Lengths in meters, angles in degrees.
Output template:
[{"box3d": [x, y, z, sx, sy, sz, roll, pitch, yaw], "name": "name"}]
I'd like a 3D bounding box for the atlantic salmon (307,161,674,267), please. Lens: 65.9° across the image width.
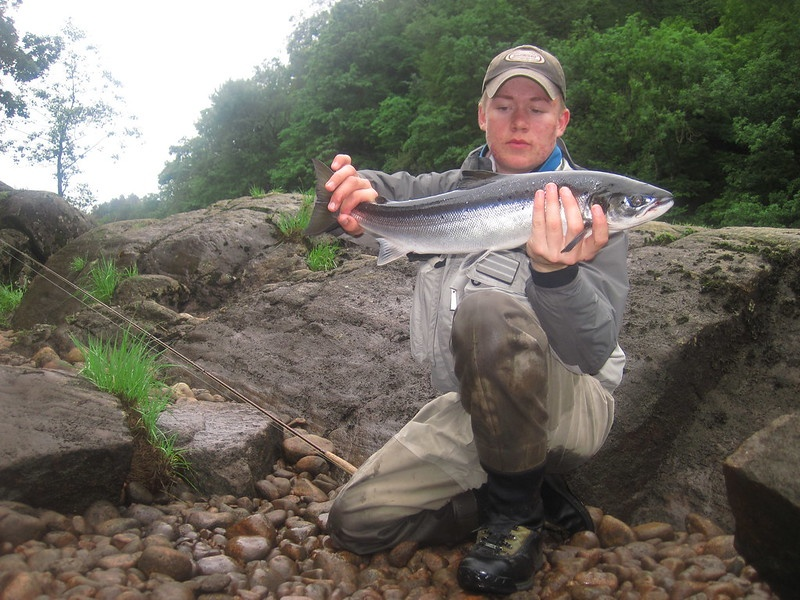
[{"box3d": [0.477, -0.502, 3.655, 2.162, 0.697, 0.617, -2, 19, 7], "name": "atlantic salmon"}]
